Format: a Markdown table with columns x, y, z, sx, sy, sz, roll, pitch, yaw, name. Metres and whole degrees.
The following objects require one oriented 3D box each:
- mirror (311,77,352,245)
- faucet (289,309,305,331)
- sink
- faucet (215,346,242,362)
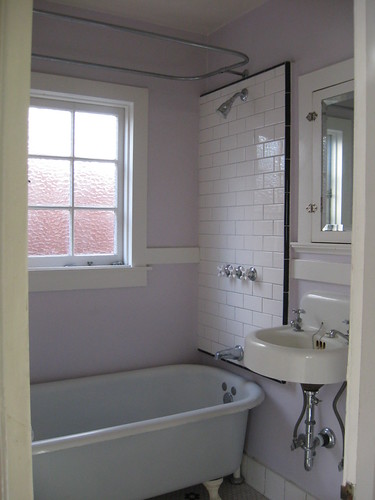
| x | y | z | sx | sy | sz | roll | pitch | yaw | name |
| --- | --- | --- | --- | --- | --- | --- | --- | --- | --- |
| 0.705 | -0.413 | 2.035 | 0.075 | 0.765 | 0.291 | -1 | 5 | -20 | mirror |
| 0.582 | 0.360 | 2.168 | 0.093 | 0.140 | 0.085 | -3 | -6 | 43 | faucet |
| 0.511 | 0.472 | 1.918 | 0.476 | 0.145 | 0.434 | 6 | 7 | 43 | sink |
| 0.248 | 0.637 | 2.548 | 0.095 | 0.098 | 0.164 | 6 | 2 | 44 | faucet |
